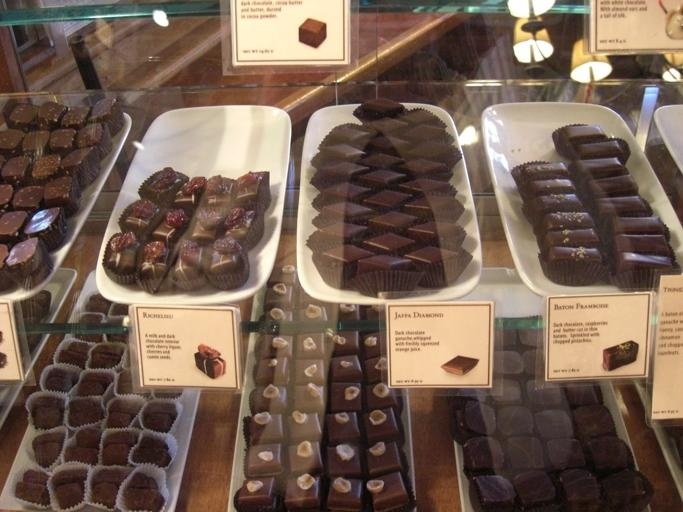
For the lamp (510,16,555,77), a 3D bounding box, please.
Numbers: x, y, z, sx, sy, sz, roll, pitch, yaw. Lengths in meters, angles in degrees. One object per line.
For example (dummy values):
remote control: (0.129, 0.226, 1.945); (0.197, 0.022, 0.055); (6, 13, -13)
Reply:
lamp: (0.528, -0.581, 1.426); (0.098, 0.093, 0.144); (-10, 57, -10)
